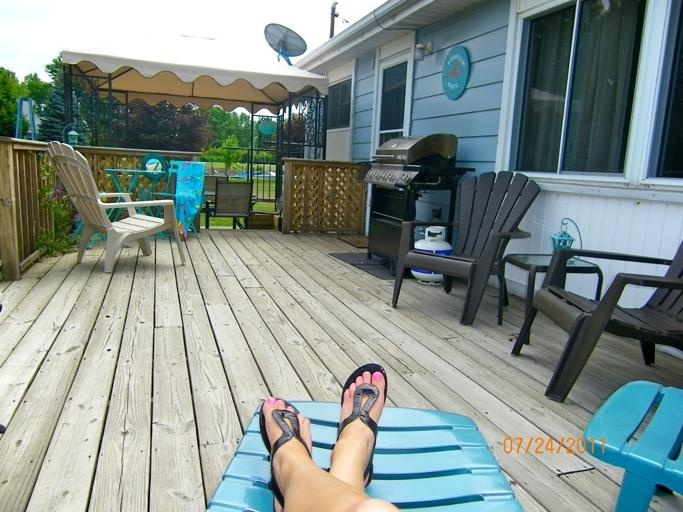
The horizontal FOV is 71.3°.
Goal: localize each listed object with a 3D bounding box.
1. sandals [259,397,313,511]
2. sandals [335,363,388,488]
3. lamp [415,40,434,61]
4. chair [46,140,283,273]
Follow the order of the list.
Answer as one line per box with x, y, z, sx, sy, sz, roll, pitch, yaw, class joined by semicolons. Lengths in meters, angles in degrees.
-0.192;0.599;1.496;0.099;0.054;0.316;9;37;-15;sandals
0.061;0.536;1.580;0.111;0.078;0.364;7;44;8;sandals
1.012;-2.533;5.864;0.115;0.195;0.348;-2;14;-21;lamp
-2.241;-0.616;5.201;1.503;1.498;1.103;-10;18;-43;chair
